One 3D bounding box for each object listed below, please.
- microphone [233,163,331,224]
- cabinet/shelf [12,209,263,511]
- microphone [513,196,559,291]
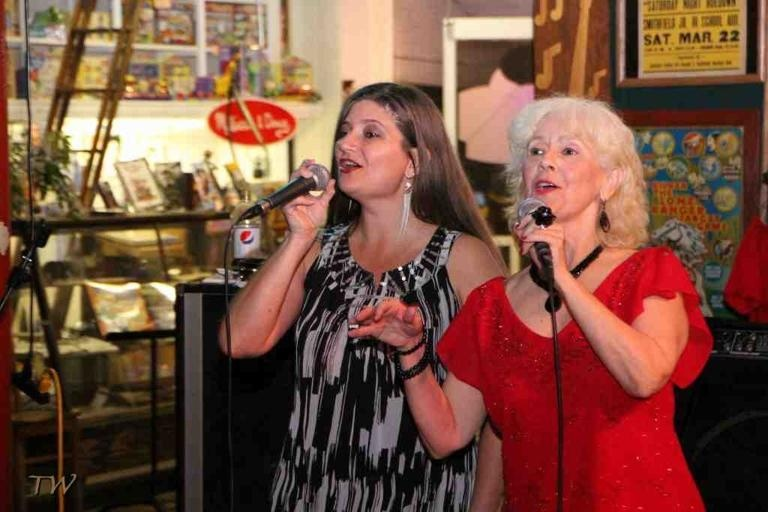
[{"bbox_3d":[-0.347,-0.232,2.702,0.377,0.170,0.085,-10,14,-42],"label":"microphone"},{"bbox_3d":[-1.454,0.651,4.286,1.205,1.747,1.698,-1,2,-16],"label":"cabinet/shelf"},{"bbox_3d":[0.465,-0.061,2.352,0.088,0.103,0.318,-13,51,12],"label":"microphone"}]
